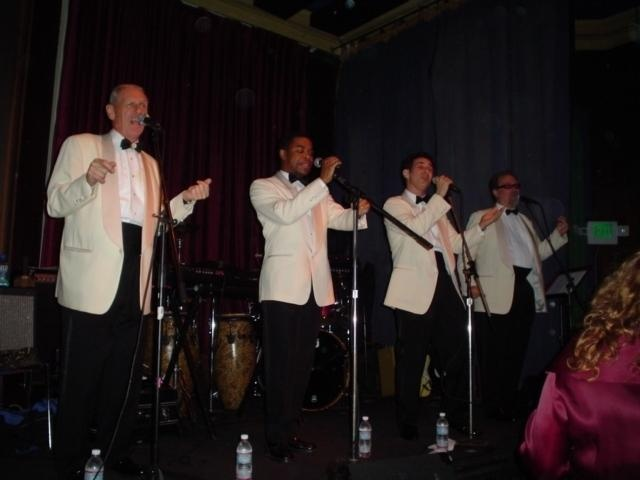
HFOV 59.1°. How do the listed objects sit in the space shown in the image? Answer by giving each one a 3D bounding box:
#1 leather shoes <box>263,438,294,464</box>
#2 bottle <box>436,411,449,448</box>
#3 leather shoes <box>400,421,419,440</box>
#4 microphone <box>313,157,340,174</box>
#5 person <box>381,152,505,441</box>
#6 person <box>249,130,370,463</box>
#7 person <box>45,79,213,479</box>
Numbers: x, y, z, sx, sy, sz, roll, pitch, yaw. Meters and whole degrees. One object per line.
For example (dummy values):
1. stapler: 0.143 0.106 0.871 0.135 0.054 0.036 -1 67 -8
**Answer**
1. leather shoes: -0.266 1.419 3.807 0.106 0.087 0.167 7 -11 -37
2. bottle: 0.898 1.377 4.112 0.092 0.228 0.310 -1 -5 12
3. leather shoes: 0.681 1.443 4.272 0.120 0.146 0.094 -4 6 -9
4. microphone: 0.057 -0.492 3.712 0.086 0.142 0.243 4 7 41
5. person: 0.938 0.401 4.493 0.731 2.230 0.984 -3 -5 32
6. person: -0.139 0.345 3.885 0.686 2.252 0.698 0 -4 -8
7. person: -1.256 0.197 3.293 0.646 2.326 0.396 2 -5 -30
